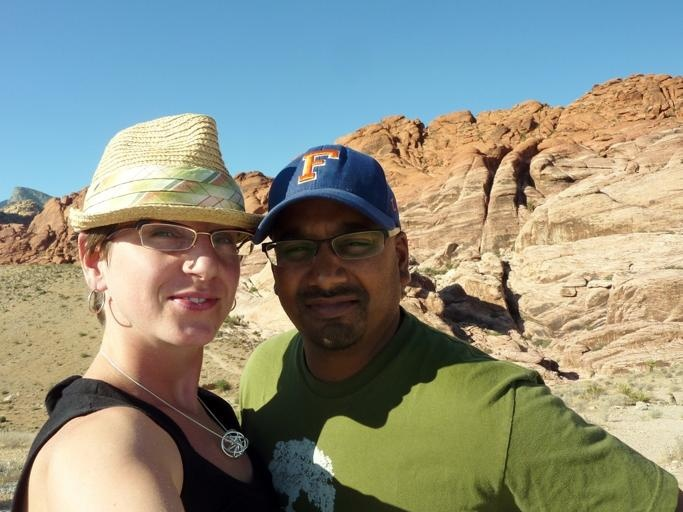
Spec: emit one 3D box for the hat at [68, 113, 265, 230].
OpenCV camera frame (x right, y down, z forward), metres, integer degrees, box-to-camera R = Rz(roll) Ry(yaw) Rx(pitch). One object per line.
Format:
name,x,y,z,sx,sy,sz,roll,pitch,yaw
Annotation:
hat,-0.904,-0.386,3.332,0.853,0.393,0.940,-8,-17,30
